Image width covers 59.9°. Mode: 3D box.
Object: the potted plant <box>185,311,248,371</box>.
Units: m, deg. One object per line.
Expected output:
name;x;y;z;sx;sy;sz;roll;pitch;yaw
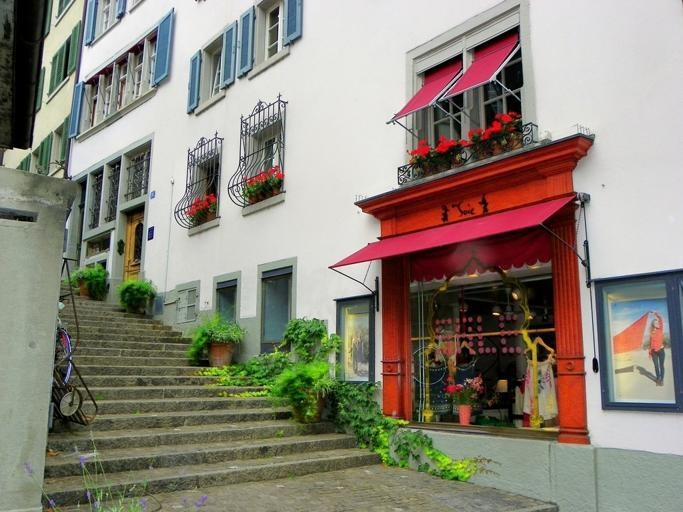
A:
potted plant;-2.473;1.691;11.696;0.885;1.055;0.935;5;-9;-17

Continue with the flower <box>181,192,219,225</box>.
flower;-3.166;-1.086;13.372;0.382;0.749;1.032;11;-16;-36

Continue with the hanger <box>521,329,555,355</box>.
hanger;2.655;1.175;8.041;0.435;0.355;0.154;-3;-13;22

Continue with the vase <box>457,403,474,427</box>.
vase;1.782;2.299;8.583;0.226;0.323;0.235;2;-24;2

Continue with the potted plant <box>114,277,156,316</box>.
potted plant;-4.965;0.922;14.344;0.773;0.983;0.900;-1;-2;-4

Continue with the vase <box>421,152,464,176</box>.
vase;1.566;-1.396;8.976;0.350;0.139;0.352;-13;3;-24

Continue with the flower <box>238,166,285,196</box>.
flower;-1.563;-1.514;11.945;0.681;0.415;0.554;-15;-2;12

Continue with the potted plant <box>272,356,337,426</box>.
potted plant;-0.581;2.147;9.410;0.842;0.917;0.902;0;-15;-6

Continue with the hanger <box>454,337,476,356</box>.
hanger;1.818;1.328;8.680;0.051;0.246;0.207;2;-7;-44

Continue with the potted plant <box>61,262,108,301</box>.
potted plant;-6.360;0.677;14.731;1.043;0.936;0.936;3;-3;-25

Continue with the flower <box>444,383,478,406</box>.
flower;1.757;2.019;8.662;0.277;0.271;0.340;1;-9;10
